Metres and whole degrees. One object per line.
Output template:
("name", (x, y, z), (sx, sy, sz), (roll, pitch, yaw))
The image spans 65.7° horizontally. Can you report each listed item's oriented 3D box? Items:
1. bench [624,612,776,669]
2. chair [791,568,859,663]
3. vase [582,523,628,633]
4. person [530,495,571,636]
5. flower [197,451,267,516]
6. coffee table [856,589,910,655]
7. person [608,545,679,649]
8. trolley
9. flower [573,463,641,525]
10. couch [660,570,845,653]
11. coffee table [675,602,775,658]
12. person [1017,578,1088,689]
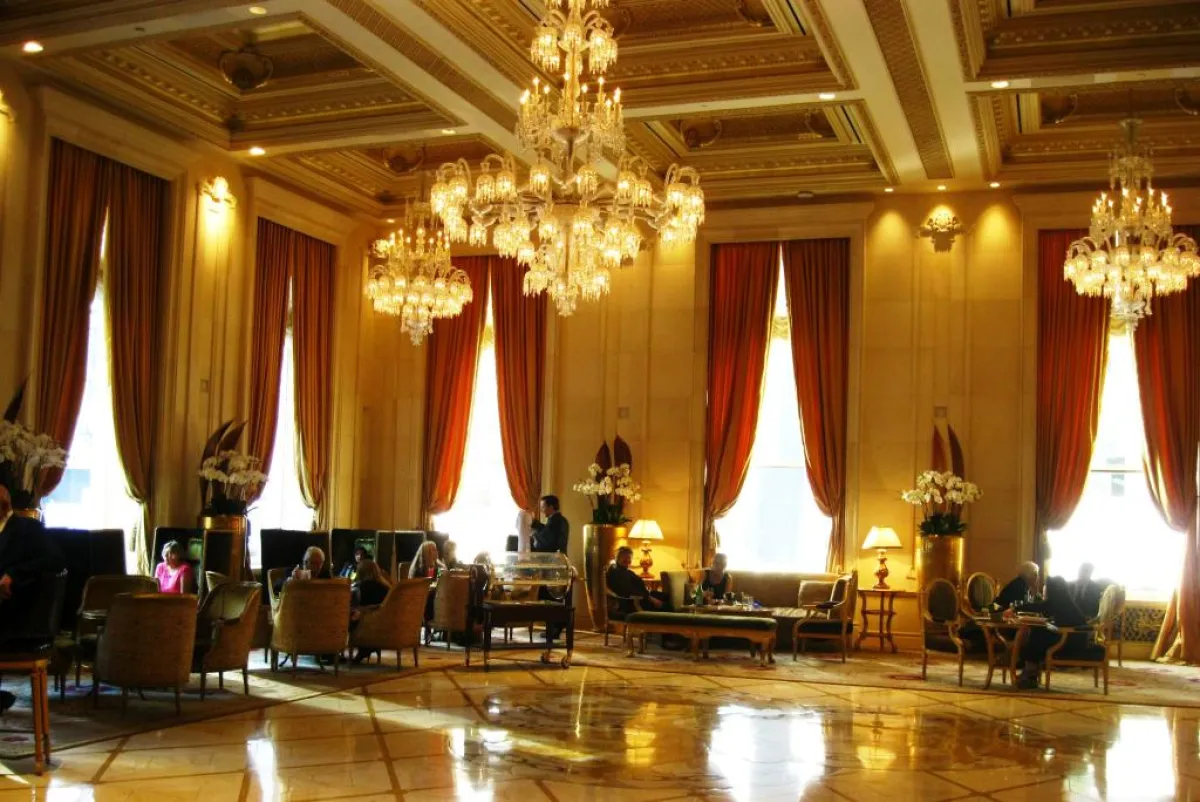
("bench", (1.411, 3.271, 12.989), (1.443, 0.766, 2.320), (5, -2, 40))
("chair", (3.231, 3.074, 13.405), (0.927, 1.206, 0.746), (1, -5, 6))
("vase", (-0.039, 2.780, 14.875), (0.568, 1.731, 0.712), (6, -5, -41))
("person", (-0.757, 1.991, 14.117), (0.566, 2.021, 0.471), (-1, -3, 24))
("flower", (-5.243, 1.187, 13.079), (0.871, 0.947, 0.944), (0, -15, 2))
("coffee table", (4.329, 3.385, 14.378), (0.926, 0.898, 0.943), (0, -6, 17))
("person", (0.614, 2.685, 13.827), (0.942, 1.595, 0.824), (-8, -5, 4))
("trolley", (-1.055, 2.602, 12.176), (1.602, 1.544, 0.894), (4, -6, -24))
("flower", (0.143, 1.562, 15.222), (0.941, 0.956, 0.951), (0, -15, -2))
("couch", (2.575, 3.014, 14.073), (2.652, 1.132, 1.579), (-2, -4, 26))
("coffee table", (1.817, 3.277, 13.049), (1.194, 0.678, 1.523), (1, -5, 6))
("person", (5.489, 2.824, 11.337), (0.763, 1.342, 0.485), (-1, -5, 27))
